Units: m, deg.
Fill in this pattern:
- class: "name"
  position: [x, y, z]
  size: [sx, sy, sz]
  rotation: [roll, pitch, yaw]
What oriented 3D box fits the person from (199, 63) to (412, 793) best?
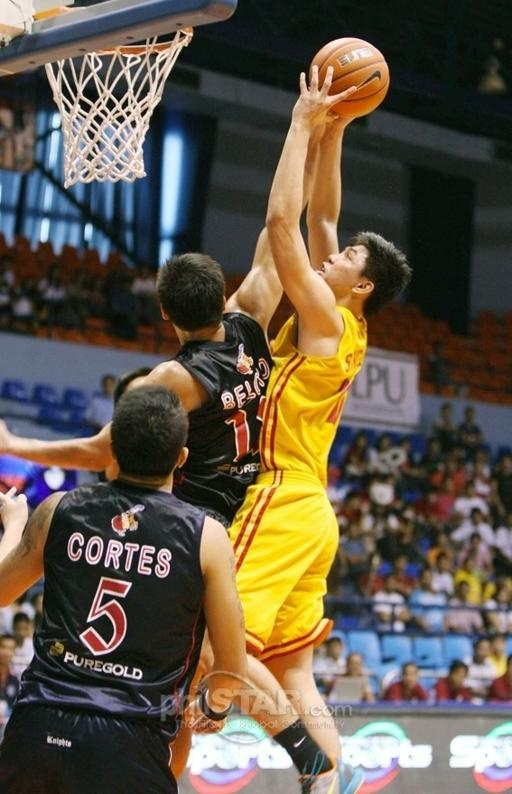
- class: "person"
  position: [0.191, 0.009, 2.467]
  size: [0.519, 1.682, 0.728]
  rotation: [11, -4, -2]
